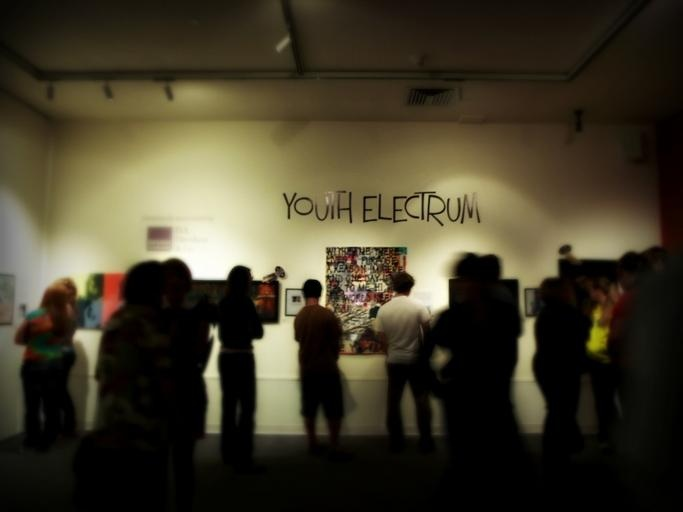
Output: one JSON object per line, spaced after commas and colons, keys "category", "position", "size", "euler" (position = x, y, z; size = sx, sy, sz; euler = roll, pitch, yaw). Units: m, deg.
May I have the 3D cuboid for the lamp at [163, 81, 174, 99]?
{"category": "lamp", "position": [-1.655, -1.573, 5.254], "size": [0.073, 0.134, 0.044], "euler": [0, 12, -14]}

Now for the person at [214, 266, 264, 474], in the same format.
{"category": "person", "position": [-0.696, 0.728, 3.709], "size": [0.303, 1.330, 0.434], "euler": [2, -4, -10]}

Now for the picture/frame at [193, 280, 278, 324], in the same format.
{"category": "picture/frame", "position": [-1.103, 0.494, 5.734], "size": [0.964, 0.553, 0.043], "euler": [0, 23, -10]}

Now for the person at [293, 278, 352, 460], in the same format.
{"category": "person", "position": [-0.171, 0.826, 3.801], "size": [0.332, 0.937, 0.635], "euler": [2, -4, -4]}
